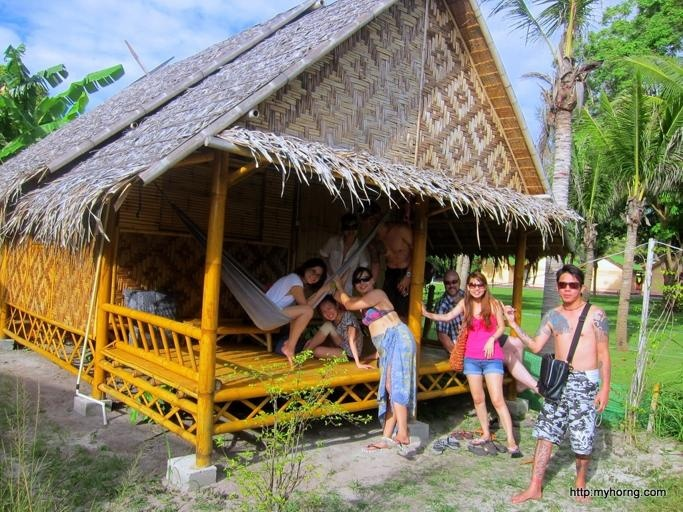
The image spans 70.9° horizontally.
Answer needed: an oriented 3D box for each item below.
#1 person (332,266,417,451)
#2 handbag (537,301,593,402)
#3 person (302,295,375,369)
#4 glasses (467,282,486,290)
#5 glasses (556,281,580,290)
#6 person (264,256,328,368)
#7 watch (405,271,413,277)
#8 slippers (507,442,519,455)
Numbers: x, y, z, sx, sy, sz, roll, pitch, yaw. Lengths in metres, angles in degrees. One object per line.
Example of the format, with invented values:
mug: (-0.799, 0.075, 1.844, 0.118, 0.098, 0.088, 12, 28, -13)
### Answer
person: (0.357, 1.286, 6.289, 1.171, 2.281, 0.628, 1, -15, -3)
handbag: (2.394, 1.027, 5.184, 0.471, 1.102, 0.262, 3, 1, 28)
person: (0.062, 1.143, 7.437, 0.967, 1.231, 1.002, 0, -8, -33)
glasses: (1.781, 0.367, 6.317, 0.242, 0.142, 0.150, 3, 1, 13)
glasses: (2.456, 0.310, 5.183, 0.223, 0.094, 0.092, 4, 1, 27)
person: (-0.672, 0.758, 7.179, 0.818, 1.167, 2.055, 3, 1, -2)
watch: (1.101, 0.290, 7.856, 0.108, 0.117, 0.028, -2, -3, 26)
slippers: (2.233, 2.503, 6.291, 0.107, 0.065, 0.191, -2, -10, -5)
